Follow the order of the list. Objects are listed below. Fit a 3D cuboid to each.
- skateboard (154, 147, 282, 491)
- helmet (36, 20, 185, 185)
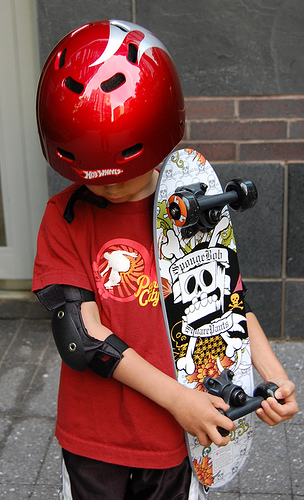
[{"bbox_3d":[0.110,0.167,1.122,0.268,0.907,0.140,-10,2,-43],"label":"skateboard"},{"bbox_3d":[-0.083,-0.344,1.000,0.294,0.281,0.372,3,40,6],"label":"helmet"}]
